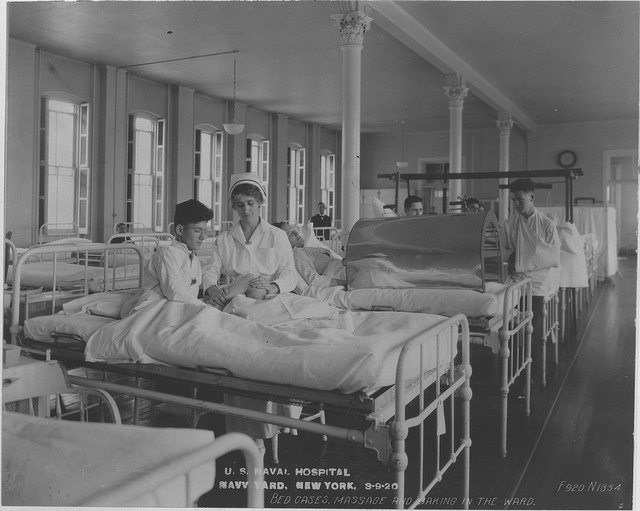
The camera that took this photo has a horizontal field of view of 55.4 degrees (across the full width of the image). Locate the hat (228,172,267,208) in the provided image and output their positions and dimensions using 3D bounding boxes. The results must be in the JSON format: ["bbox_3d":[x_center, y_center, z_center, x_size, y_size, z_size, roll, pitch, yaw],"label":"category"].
[{"bbox_3d":[-0.528,-0.506,4.580,0.220,0.259,0.089,1,13,6],"label":"hat"}]

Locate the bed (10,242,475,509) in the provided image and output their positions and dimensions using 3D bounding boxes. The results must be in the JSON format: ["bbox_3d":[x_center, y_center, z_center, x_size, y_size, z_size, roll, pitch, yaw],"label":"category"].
[{"bbox_3d":[-0.191,0.576,3.674,2.014,1.228,1.256,3,10,26],"label":"bed"}]

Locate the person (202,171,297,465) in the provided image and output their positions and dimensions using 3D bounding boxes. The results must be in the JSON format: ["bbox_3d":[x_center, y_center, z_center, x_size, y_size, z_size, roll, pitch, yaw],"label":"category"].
[{"bbox_3d":[-0.512,0.345,4.444,0.656,1.873,0.945,-4,-1,-3],"label":"person"}]

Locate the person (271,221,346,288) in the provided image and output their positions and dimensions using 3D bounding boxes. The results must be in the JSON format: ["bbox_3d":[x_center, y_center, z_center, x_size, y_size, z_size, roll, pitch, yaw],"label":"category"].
[{"bbox_3d":[-0.076,-0.071,6.079,0.522,0.509,0.922,-5,0,12],"label":"person"}]

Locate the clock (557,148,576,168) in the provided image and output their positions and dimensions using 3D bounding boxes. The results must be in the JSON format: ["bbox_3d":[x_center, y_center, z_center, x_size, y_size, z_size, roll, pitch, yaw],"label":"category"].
[{"bbox_3d":[6.724,-2.658,16.574,0.539,0.478,0.276,2,5,17],"label":"clock"}]

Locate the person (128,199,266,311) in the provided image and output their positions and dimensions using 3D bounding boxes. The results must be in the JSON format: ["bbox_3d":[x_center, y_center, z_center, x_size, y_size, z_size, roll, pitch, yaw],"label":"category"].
[{"bbox_3d":[-0.912,0.049,4.106,0.646,0.803,0.486,-7,-16,27],"label":"person"}]

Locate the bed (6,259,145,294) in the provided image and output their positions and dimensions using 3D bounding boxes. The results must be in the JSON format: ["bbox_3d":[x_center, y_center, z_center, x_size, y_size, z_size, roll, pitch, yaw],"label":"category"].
[{"bbox_3d":[-2.755,0.227,6.666,1.116,0.334,0.745,0,3,24],"label":"bed"}]

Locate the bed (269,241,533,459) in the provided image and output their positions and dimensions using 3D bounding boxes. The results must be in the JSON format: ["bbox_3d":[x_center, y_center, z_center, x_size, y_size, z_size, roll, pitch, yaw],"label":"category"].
[{"bbox_3d":[0.787,0.640,5.097,1.674,1.179,1.403,0,4,25],"label":"bed"}]
